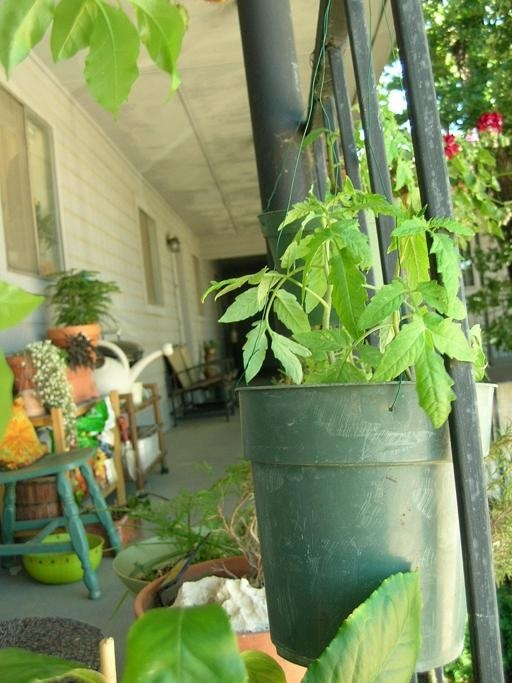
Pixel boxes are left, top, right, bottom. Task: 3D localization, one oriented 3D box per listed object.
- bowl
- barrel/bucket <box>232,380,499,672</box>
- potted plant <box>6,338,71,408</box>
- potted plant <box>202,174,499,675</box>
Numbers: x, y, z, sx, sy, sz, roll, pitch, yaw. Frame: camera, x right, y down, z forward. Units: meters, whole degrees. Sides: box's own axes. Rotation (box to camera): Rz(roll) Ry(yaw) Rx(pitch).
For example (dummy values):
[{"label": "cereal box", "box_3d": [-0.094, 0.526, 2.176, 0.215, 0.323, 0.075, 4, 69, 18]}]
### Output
[{"label": "bowl", "box_3d": [-0.822, 0.935, 2.428, 0.314, 0.107, 0.305, 1, 1, 0]}, {"label": "barrel/bucket", "box_3d": [0.125, 0.203, 0.661, 0.289, 0.277, 0.277, -1, -9, 0]}, {"label": "potted plant", "box_3d": [-0.914, 0.158, 2.385, 0.226, 0.296, 0.161, -9, -1, -22]}, {"label": "potted plant", "box_3d": [0.127, 0.131, 0.671, 0.294, 0.417, 0.301, 15, -26, -42]}]
